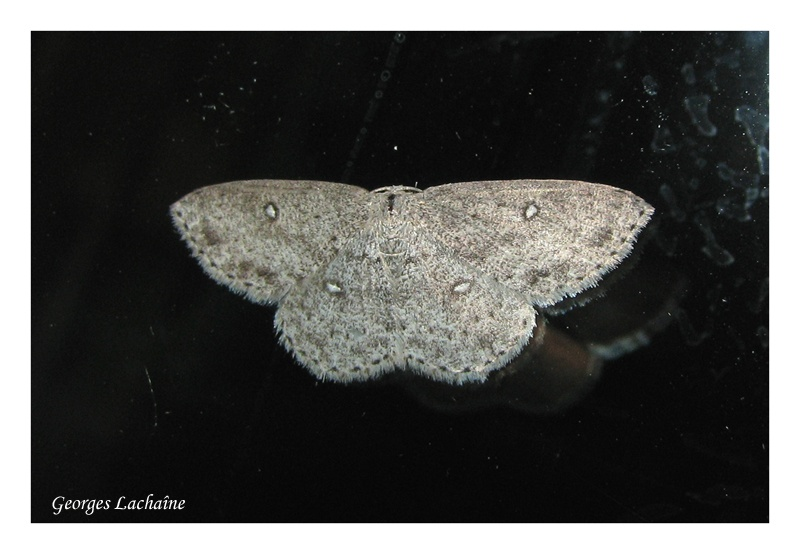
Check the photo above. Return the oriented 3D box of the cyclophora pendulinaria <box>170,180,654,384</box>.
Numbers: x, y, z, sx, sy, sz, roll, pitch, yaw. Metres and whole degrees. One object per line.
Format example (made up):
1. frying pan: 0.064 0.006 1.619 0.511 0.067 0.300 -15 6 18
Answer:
1. cyclophora pendulinaria: 0.096 -0.032 3.772 2.109 0.174 0.985 0 91 2
